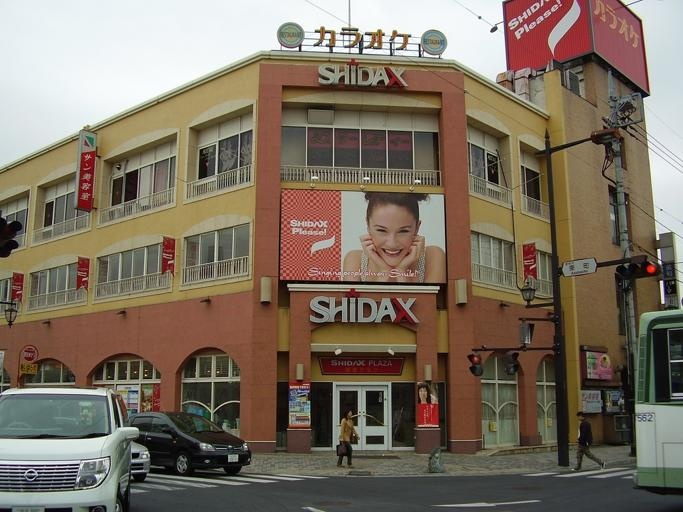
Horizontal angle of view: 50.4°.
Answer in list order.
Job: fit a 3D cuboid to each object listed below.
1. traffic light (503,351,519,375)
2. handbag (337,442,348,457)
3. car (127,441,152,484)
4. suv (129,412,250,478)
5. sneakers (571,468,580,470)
[{"bbox_3d":[6.503,4.073,27.735,0.454,0.812,1.532,-5,-17,11],"label":"traffic light"},{"bbox_3d":[0.038,7.086,26.593,0.328,0.465,0.428,-2,-17,0],"label":"handbag"},{"bbox_3d":[-6.153,6.205,22.117,0.812,0.849,1.789,3,-26,-14],"label":"car"},{"bbox_3d":[-5.428,6.481,25.170,3.957,1.661,2.058,-10,-16,38],"label":"suv"},{"bbox_3d":[8.554,7.749,26.476,0.261,0.119,0.445,-7,-18,16],"label":"sneakers"}]
